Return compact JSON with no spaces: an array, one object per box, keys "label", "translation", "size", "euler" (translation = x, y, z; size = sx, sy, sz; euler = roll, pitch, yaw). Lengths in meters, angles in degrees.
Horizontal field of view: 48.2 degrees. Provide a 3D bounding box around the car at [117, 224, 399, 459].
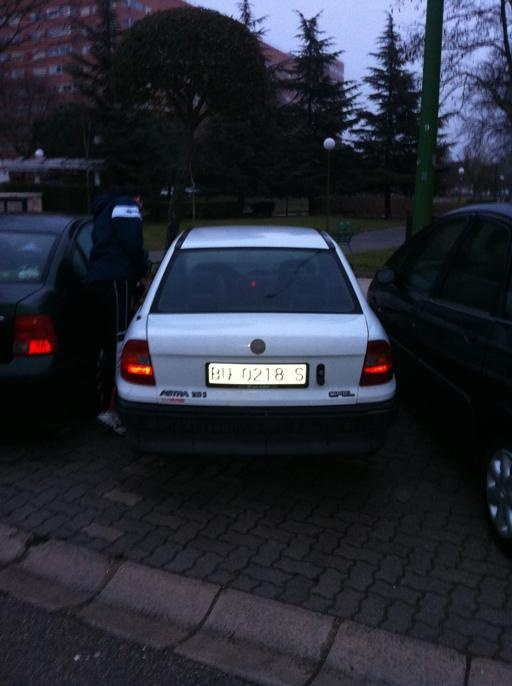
[{"label":"car","translation":[0.071,-0.208,3.264],"size":[0.811,0.759,1.606],"euler":[1,21,1]}]
